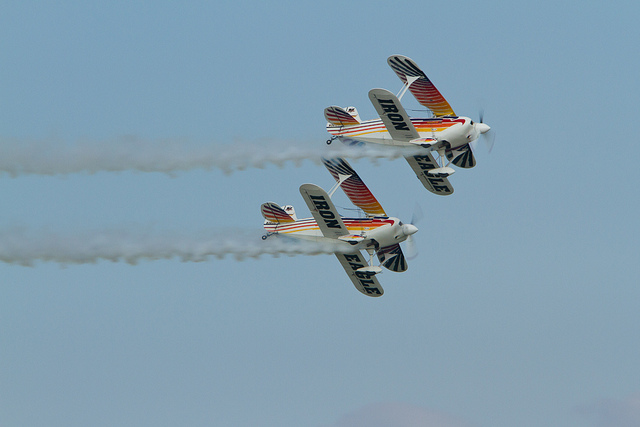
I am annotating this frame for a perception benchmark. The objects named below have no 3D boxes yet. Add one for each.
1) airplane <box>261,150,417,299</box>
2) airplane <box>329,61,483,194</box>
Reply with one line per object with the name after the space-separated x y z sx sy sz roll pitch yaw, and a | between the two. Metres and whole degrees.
0.536 0.638 35.353 4.810 5.327 1.958 -11 -46 -35 | airplane
2.229 -2.676 36.628 4.962 1.935 5.327 14 -29 21 | airplane
